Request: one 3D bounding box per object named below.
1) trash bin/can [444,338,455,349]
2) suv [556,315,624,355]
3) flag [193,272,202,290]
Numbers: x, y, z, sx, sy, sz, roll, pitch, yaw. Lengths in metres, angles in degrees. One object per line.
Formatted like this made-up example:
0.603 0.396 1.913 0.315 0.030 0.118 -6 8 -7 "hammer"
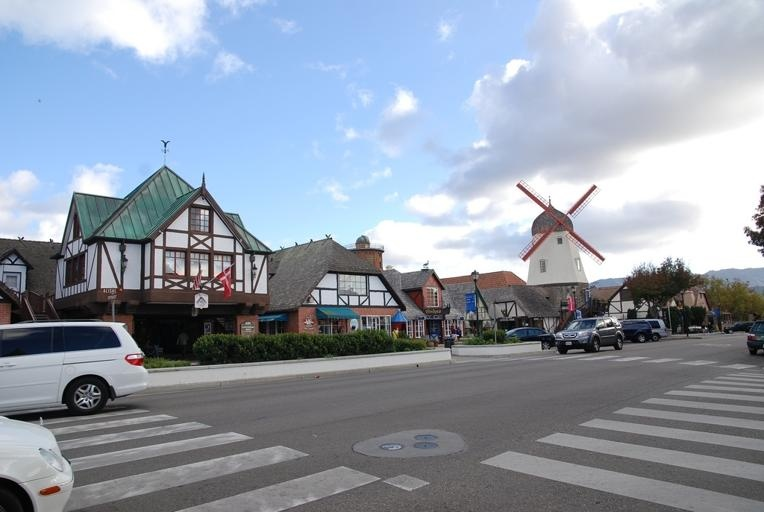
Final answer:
4.862 6.339 40.812 0.792 0.875 0.836 -1 -1 7 "trash bin/can"
11.891 4.600 32.340 3.594 1.970 1.568 0 -2 -22 "suv"
-10.181 1.443 31.347 0.400 1.001 0.572 -2 -2 40 "flag"
